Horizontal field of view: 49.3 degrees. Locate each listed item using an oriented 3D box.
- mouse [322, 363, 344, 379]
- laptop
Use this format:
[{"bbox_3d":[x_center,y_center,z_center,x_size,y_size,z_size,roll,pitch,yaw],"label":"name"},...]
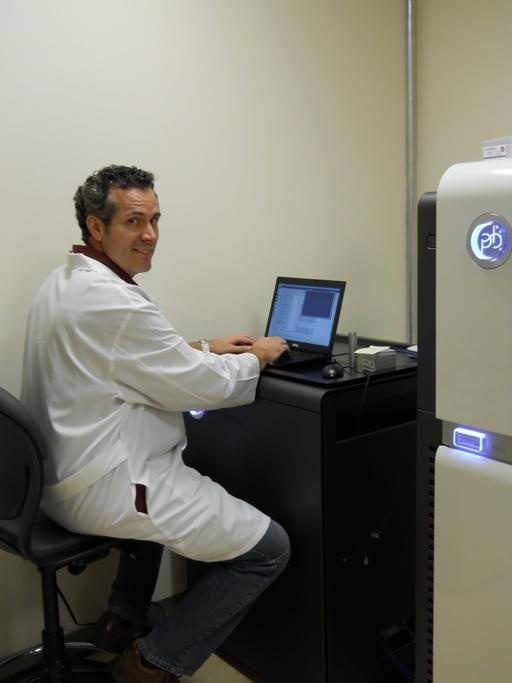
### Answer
[{"bbox_3d":[0.191,0.081,1.370,0.045,0.032,0.034,-16,38,12],"label":"mouse"},{"bbox_3d":[0.173,-0.083,1.652,0.219,0.242,0.295,-8,17,-42],"label":"laptop"}]
